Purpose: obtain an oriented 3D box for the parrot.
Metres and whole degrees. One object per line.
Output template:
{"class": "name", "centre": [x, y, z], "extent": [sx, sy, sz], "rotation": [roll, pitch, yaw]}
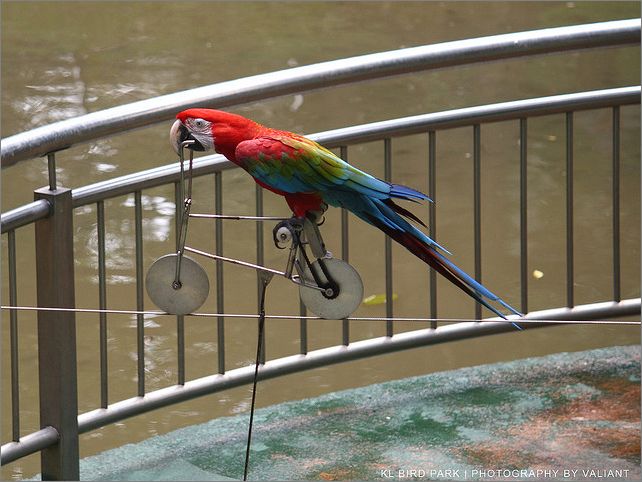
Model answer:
{"class": "parrot", "centre": [0.016, -0.180, 6.121], "extent": [1.187, 0.825, 0.207], "rotation": [0, 28, 17]}
